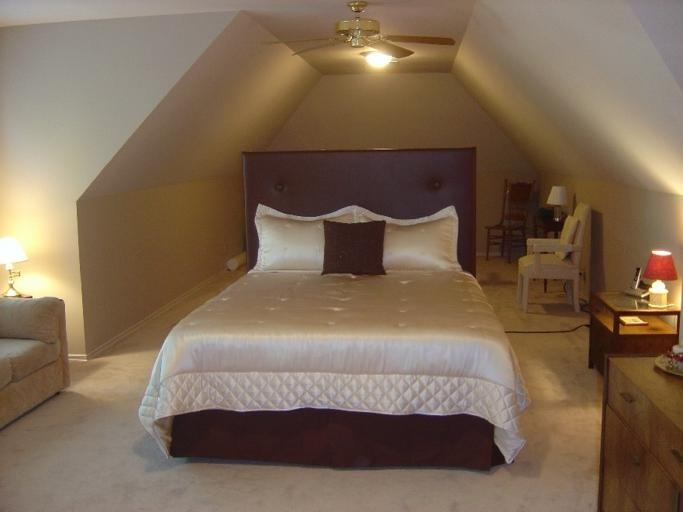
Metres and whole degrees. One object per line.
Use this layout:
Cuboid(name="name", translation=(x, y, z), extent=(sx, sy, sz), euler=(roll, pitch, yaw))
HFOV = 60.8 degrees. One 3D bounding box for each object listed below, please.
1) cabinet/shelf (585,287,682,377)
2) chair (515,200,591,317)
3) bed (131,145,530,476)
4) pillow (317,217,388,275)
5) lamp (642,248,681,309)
Cuboid(name="cabinet/shelf", translation=(1.938, 0.492, 3.831), extent=(0.292, 0.453, 0.583), euler=(-1, 10, 3))
Cuboid(name="chair", translation=(2.138, -0.010, 5.933), extent=(0.704, 1.004, 0.704), euler=(-2, 8, -10))
Cuboid(name="bed", translation=(0.131, 0.247, 4.313), extent=(1.890, 1.602, 2.433), euler=(1, 11, 9))
Cuboid(name="pillow", translation=(0.093, -0.056, 4.456), extent=(0.415, 0.413, 0.133), euler=(1, -7, 4))
Cuboid(name="lamp", translation=(2.303, 0.154, 4.196), extent=(0.217, 0.396, 0.449), euler=(6, 8, 31))
